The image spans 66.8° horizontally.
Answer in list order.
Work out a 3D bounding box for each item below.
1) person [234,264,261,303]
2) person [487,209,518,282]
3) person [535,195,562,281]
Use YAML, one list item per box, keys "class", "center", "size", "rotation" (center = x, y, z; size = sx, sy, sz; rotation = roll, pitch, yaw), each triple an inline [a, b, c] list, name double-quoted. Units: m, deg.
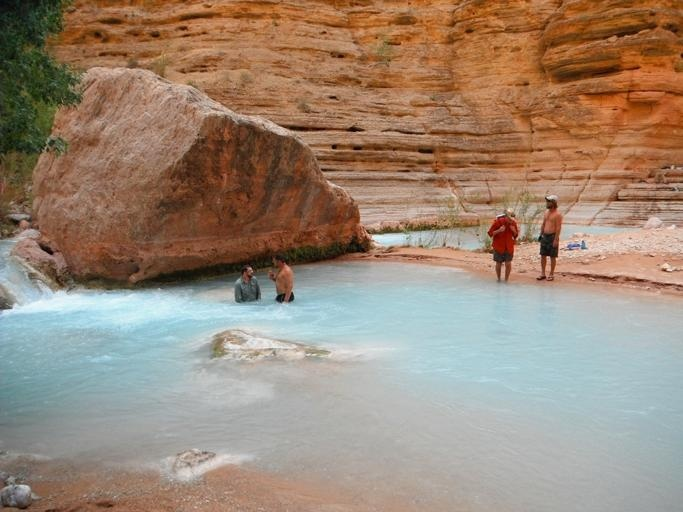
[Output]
- class: "person"
  center: [-1.696, 0.470, 9.402]
  size: [0.433, 0.676, 0.497]
  rotation: [-1, 15, -3]
- class: "person"
  center: [3.510, -0.304, 11.271]
  size: [0.561, 1.543, 1.308]
  rotation: [5, 15, 18]
- class: "person"
  center: [4.397, -0.387, 10.950]
  size: [0.396, 1.793, 0.724]
  rotation: [5, 17, 19]
